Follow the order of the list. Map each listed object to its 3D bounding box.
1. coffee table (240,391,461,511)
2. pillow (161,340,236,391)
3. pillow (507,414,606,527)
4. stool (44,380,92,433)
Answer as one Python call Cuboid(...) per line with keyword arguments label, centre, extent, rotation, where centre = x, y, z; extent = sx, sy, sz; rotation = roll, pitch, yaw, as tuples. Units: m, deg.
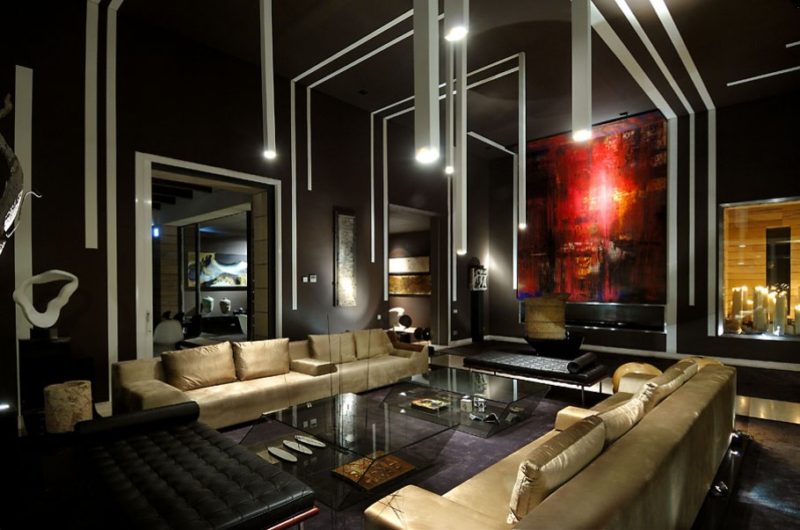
Cuboid(label="coffee table", centre=(-0.563, 1.998, 5.819), extent=(1.302, 0.310, 1.337), rotation=(-5, 6, -41))
Cuboid(label="pillow", centre=(-2.626, 1.328, 6.871), extent=(0.915, 0.544, 0.253), rotation=(0, -4, -40))
Cuboid(label="pillow", centre=(1.361, 1.734, 4.448), extent=(0.927, 0.794, 0.271), rotation=(-1, -3, -24))
Cuboid(label="stool", centre=(-3.658, 1.525, 5.934), extent=(0.554, 0.620, 0.542), rotation=(-3, 2, -25))
